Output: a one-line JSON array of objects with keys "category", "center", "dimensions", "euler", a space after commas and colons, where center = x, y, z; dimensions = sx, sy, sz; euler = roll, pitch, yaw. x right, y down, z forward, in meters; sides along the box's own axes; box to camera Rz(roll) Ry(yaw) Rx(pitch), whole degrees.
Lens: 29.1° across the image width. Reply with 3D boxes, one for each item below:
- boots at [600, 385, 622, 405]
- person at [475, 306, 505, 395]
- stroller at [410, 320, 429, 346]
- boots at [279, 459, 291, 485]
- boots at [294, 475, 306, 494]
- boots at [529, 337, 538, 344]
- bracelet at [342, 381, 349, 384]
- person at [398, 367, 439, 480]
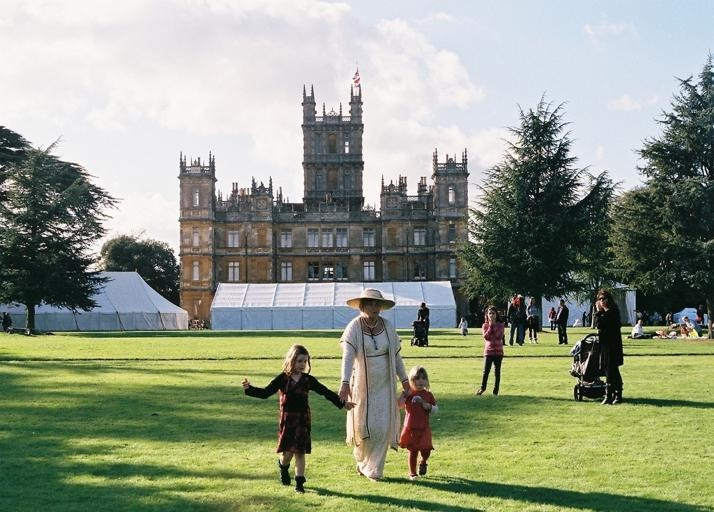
[{"category": "boots", "center": [8.635, 4.712, 47.128], "dimensions": [0.559, 0.689, 0.707], "euler": [-1, -12, 4]}, {"category": "person", "center": [4.636, 3.253, 48.582], "dimensions": [1.047, 3.028, 0.907], "euler": [0, -5, 1]}, {"category": "stroller", "center": [2.824, 3.520, 62.874], "dimensions": [1.012, 1.709, 0.970], "euler": [0, -6, 1]}, {"category": "boots", "center": [-2.265, 6.693, 42.815], "dimensions": [0.355, 0.766, 0.363], "euler": [0, -4, -1]}, {"category": "boots", "center": [-1.786, 7.024, 42.539], "dimensions": [0.288, 0.526, 0.361], "euler": [0, -4, 0]}, {"category": "boots", "center": [8.121, 3.906, 63.893], "dimensions": [0.173, 0.223, 0.519], "euler": [0, -7, -3]}, {"category": "bracelet", "center": [-0.384, 3.897, 42.700], "dimensions": [0.215, 0.108, 0.068], "euler": [0, -4, 0]}, {"category": "person", "center": [1.788, 5.160, 43.088], "dimensions": [1.145, 3.313, 1.191], "euler": [1, -10, 2]}]
